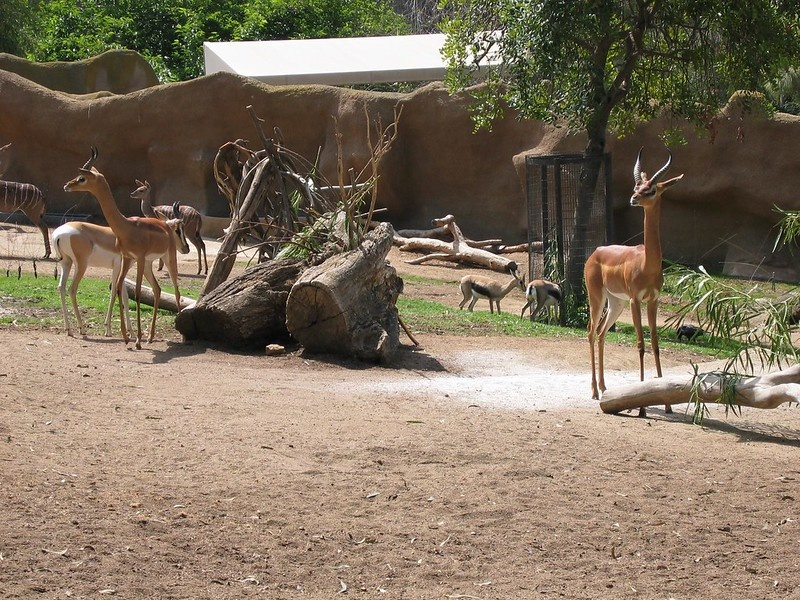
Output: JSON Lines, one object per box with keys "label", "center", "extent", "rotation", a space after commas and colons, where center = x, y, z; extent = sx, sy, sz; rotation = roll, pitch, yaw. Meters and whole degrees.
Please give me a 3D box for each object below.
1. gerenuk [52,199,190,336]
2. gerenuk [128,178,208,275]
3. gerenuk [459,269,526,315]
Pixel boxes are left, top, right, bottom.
{"label": "gerenuk", "center": [-3.754, -0.409, 14.382], "extent": [0.564, 1.815, 2.196], "rotation": [5, 2, 40]}
{"label": "gerenuk", "center": [-4.913, -1.495, 22.123], "extent": [1.550, 1.973, 0.473], "rotation": [4, 30, -6]}
{"label": "gerenuk", "center": [1.696, -0.088, 19.202], "extent": [1.278, 0.918, 0.390], "rotation": [8, 13, 31]}
